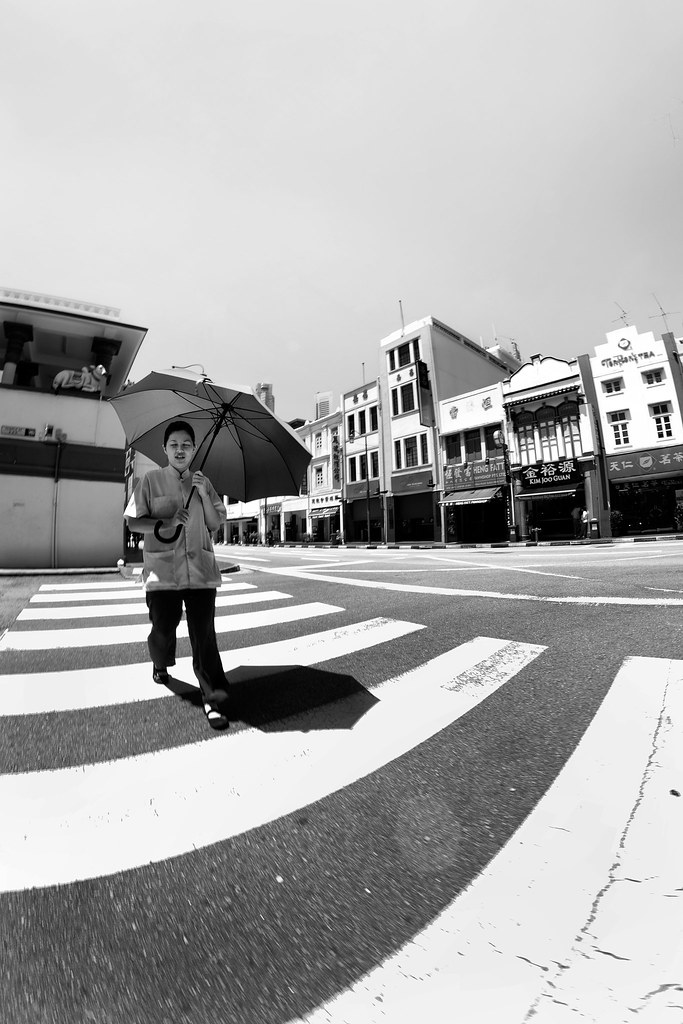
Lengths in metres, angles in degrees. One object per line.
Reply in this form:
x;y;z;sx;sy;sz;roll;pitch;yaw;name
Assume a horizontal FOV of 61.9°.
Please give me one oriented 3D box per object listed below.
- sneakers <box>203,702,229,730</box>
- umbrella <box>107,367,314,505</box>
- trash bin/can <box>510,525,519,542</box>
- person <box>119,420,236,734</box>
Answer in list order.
-0.496;0.787;2.256;0.090;0.066;0.214;-2;-4;-14;sneakers
-0.771;-0.468;3.605;1.048;0.575;1.205;5;-17;27;umbrella
7.895;0.814;26.519;0.423;0.757;0.485;-3;-4;17;trash bin/can
-0.783;0.158;2.716;0.450;1.396;0.910;-1;-4;-14;person
